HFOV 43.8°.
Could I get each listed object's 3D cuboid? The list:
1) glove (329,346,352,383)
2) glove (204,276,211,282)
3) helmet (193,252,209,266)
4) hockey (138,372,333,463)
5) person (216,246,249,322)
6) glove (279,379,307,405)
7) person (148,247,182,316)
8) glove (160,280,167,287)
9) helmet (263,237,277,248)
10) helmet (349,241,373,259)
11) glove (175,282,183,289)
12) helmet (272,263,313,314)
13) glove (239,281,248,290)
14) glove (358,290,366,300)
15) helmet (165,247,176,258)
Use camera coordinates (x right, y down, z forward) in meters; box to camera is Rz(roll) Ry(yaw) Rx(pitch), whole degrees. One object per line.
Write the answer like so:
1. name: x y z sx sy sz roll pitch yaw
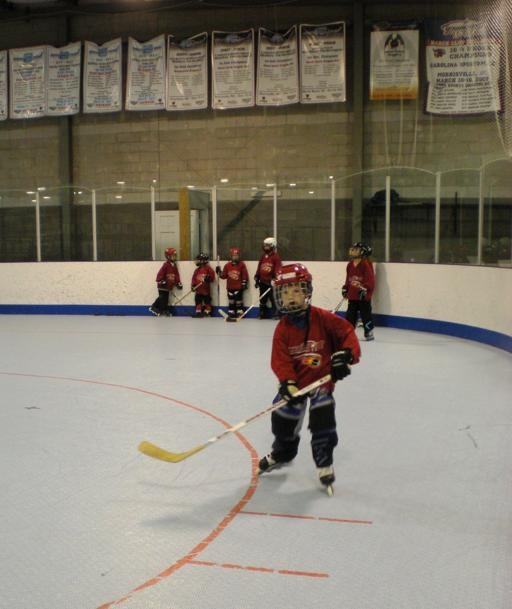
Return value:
1. glove: 0.381 0.271 2.841 0.095 0.136 0.045 -6 -32 27
2. glove: -0.825 -0.438 10.908 0.052 0.124 0.166 2 6 25
3. helmet: -0.951 -0.780 10.950 0.248 0.213 0.182 14 18 5
4. hockey: -0.136 0.666 3.686 1.341 0.159 0.100 -19 2 -4
5. person: -0.408 -0.357 10.812 0.535 1.198 0.468 0 6 10
6. glove: 0.164 0.394 2.888 0.116 0.106 0.064 0 6 3
7. person: -1.567 -0.386 11.166 0.502 1.205 0.434 -3 7 -24
8. glove: -1.597 -0.365 10.937 0.108 0.121 0.047 0 3 -12
9. helmet: 0.223 -1.015 10.347 0.188 0.158 0.271 0 5 10
10. helmet: 1.387 -0.736 8.489 0.288 0.190 0.215 16 -1 3
11. glove: -1.338 -0.316 11.171 0.091 0.096 0.110 -1 2 -9
12. helmet: 0.168 -0.070 2.966 0.177 0.230 0.160 -1 6 1
13. glove: -0.197 -0.319 10.731 0.139 0.145 0.126 0 -2 -4
14. glove: 1.393 -0.118 8.335 0.093 0.110 0.048 0 -3 19
15. helmet: -1.484 -0.900 11.061 0.178 0.166 0.240 -1 5 -7
